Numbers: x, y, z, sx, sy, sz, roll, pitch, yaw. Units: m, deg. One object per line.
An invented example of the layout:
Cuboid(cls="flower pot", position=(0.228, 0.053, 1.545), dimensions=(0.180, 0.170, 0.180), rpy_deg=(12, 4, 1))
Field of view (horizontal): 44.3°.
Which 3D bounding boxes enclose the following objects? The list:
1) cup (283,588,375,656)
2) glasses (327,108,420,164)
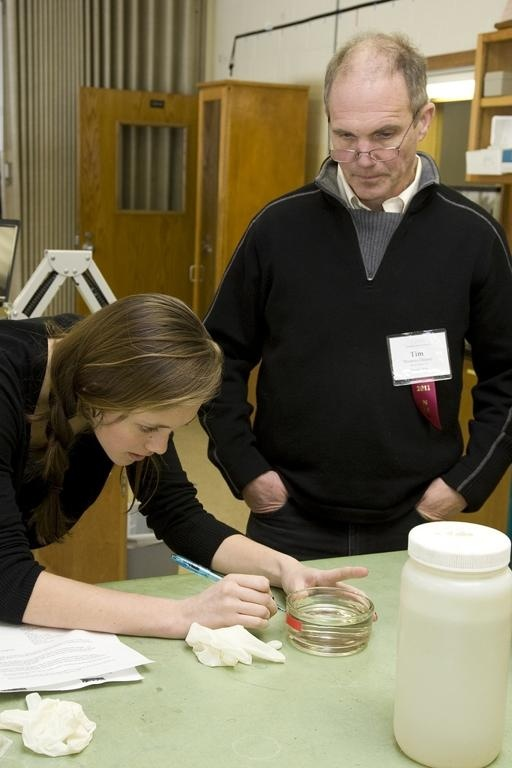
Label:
Cuboid(cls="cup", position=(0.101, 0.326, 0.879), dimensions=(0.084, 0.037, 0.080), rpy_deg=(-2, 4, 0))
Cuboid(cls="glasses", position=(0.247, -0.521, 1.357), dimensions=(0.167, 0.087, 0.058), rpy_deg=(3, 5, 8))
